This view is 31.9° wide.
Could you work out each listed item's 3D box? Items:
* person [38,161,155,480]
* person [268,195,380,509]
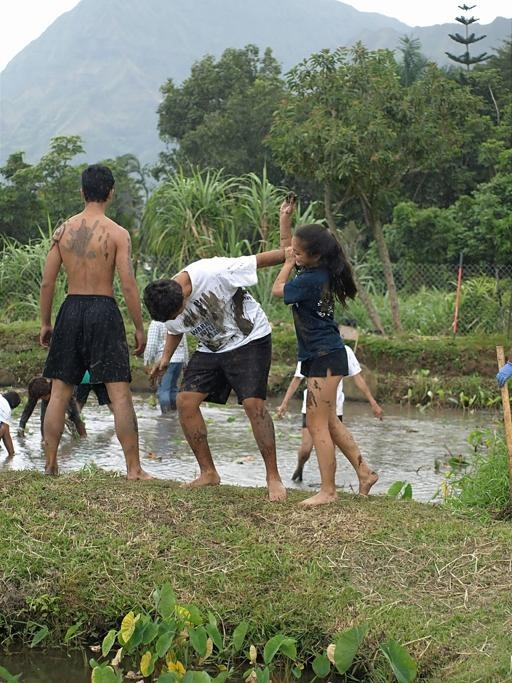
[{"bbox_3d":[-1.083,-0.131,5.946,0.855,2.043,0.611,3,13,3],"label":"person"},{"bbox_3d":[0.360,0.160,5.479,0.546,1.750,0.715,11,15,33],"label":"person"}]
